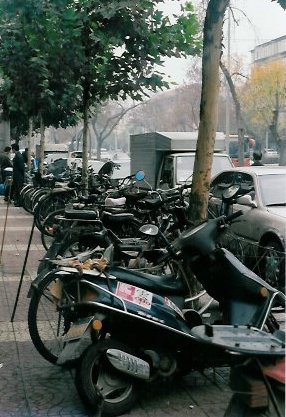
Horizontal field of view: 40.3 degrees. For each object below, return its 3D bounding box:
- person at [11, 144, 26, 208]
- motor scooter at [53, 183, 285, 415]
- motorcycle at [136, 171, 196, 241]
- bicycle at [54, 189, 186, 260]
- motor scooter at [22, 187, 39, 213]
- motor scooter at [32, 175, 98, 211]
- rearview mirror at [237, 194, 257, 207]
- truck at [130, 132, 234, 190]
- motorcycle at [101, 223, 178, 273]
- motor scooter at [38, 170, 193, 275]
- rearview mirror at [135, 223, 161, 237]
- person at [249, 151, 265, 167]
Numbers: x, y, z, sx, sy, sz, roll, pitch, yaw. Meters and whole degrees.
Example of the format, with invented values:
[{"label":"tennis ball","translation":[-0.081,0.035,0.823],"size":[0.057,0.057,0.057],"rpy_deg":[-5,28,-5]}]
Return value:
[{"label":"person","translation":[-5.135,-1.461,16.104],"size":[0.614,2.293,0.701],"rpy_deg":[2,4,17]},{"label":"motor scooter","translation":[0.231,0.563,2.447],"size":[1.553,1.223,0.820],"rpy_deg":[-4,-2,-25]},{"label":"motorcycle","translation":[0.155,-0.049,4.544],"size":[0.882,0.703,0.686],"rpy_deg":[-2,5,7]},{"label":"bicycle","translation":[-0.222,0.181,4.348],"size":[1.274,0.865,0.801],"rpy_deg":[-9,14,-18]},{"label":"motor scooter","translation":[-4.176,-0.331,14.272],"size":[0.228,0.975,0.924],"rpy_deg":[14,10,40]},{"label":"motor scooter","translation":[-1.826,-0.410,9.364],"size":[1.653,1.140,1.205],"rpy_deg":[-5,8,-19]},{"label":"rearview mirror","translation":[1.751,-0.139,6.584],"size":[0.339,0.166,0.261],"rpy_deg":[5,6,-12]},{"label":"truck","translation":[1.167,-1.512,14.545],"size":[2.294,2.835,5.255],"rpy_deg":[-2,9,-20]},{"label":"motorcycle","translation":[-0.031,0.326,3.257],"size":[0.600,0.437,0.427],"rpy_deg":[0,9,-1]},{"label":"motor scooter","translation":[-0.189,0.262,3.818],"size":[1.446,1.036,1.051],"rpy_deg":[-10,4,-15]},{"label":"rearview mirror","translation":[0.024,0.158,2.912],"size":[0.149,0.073,0.188],"rpy_deg":[0,9,-38]},{"label":"person","translation":[3.488,-1.546,11.913],"size":[0.314,0.536,1.530],"rpy_deg":[4,1,16]}]
